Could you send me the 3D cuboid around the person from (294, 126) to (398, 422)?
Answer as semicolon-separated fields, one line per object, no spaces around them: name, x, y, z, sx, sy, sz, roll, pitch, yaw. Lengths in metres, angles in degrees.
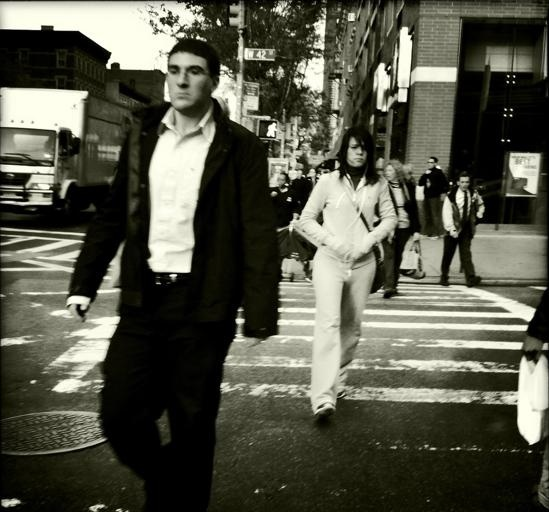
person;0.492;0.087;4.395;0.774;2.098;0.469;-2;5;-40

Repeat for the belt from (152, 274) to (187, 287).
belt;-0.411;0.089;2.354;0.137;0.056;0.019;3;4;6

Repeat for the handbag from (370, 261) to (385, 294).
handbag;0.791;0.163;4.538;0.070;0.206;0.142;10;-4;-32
